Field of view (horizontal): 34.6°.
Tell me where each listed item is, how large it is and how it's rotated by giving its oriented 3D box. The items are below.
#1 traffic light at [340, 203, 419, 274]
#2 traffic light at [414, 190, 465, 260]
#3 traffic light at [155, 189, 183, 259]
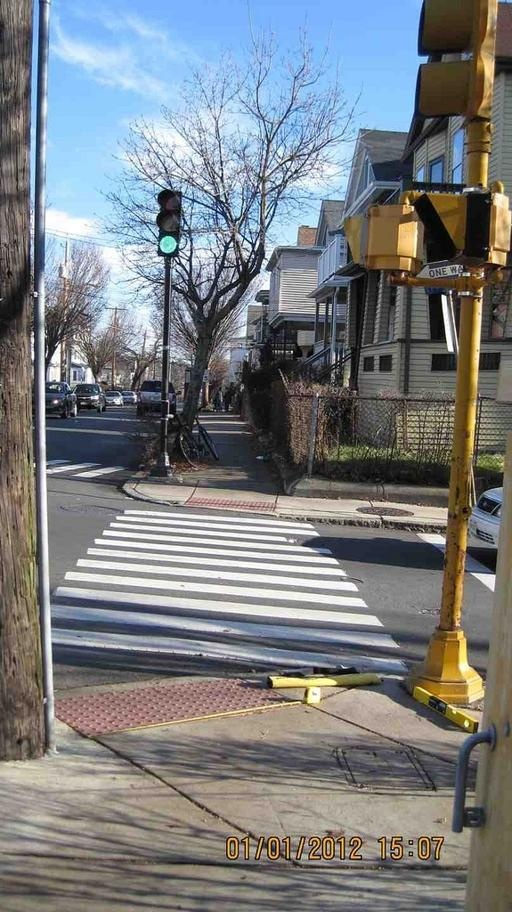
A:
[{"bbox_3d":[0.669,-1.218,4.674,0.456,0.458,0.362,-2,6,-5],"label":"traffic light"},{"bbox_3d":[1.011,-1.325,4.596,0.273,0.286,0.524,3,2,13],"label":"traffic light"},{"bbox_3d":[-1.532,-4.161,14.370,0.387,1.142,0.702,3,2,-7],"label":"traffic light"}]
